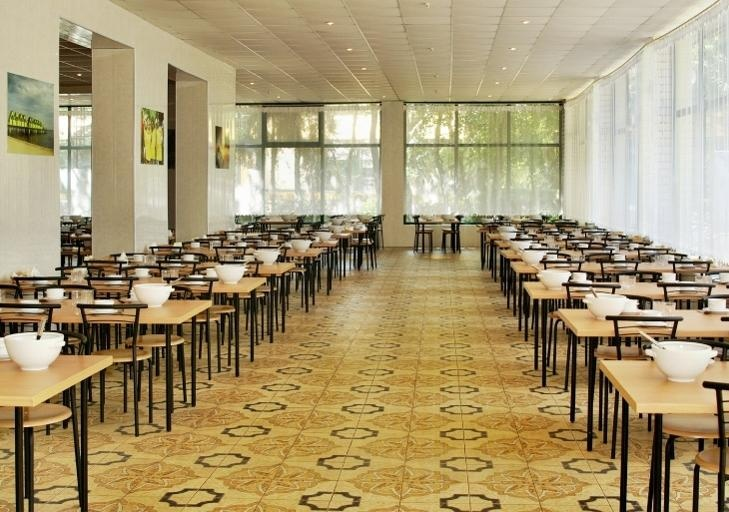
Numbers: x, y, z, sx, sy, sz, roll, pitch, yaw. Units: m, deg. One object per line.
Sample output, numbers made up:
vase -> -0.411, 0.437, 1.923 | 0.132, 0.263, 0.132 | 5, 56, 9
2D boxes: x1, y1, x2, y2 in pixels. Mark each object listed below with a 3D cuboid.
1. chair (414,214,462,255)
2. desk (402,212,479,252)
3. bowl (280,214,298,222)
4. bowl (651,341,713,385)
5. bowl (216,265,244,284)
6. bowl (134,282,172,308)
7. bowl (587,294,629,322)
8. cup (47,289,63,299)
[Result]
chair -> 2.380, -0.779, 20.029 | 1.612, 1.185, 1.879 | -2, 6, 5
desk -> 2.458, -0.693, 20.590 | 1.771, 0.884, 2.294 | 2, 2, 6
bowl -> -2.286, -1.152, 18.187 | 0.620, 0.152, 0.511 | -1, 1, -1
bowl -> 1.751, 0.572, 3.359 | 0.325, 0.207, 0.325 | -2, 6, 0
bowl -> -1.407, 0.183, 6.417 | 0.268, 0.132, 0.244 | -2, 1, 12
bowl -> -1.850, 0.338, 5.316 | 0.333, 0.123, 0.243 | 0, -3, -8
bowl -> 1.849, 0.373, 4.671 | 0.250, 0.113, 0.303 | 0, 2, 13
cup -> -2.812, 0.339, 5.517 | 0.137, 0.075, 0.123 | 0, 6, -8
